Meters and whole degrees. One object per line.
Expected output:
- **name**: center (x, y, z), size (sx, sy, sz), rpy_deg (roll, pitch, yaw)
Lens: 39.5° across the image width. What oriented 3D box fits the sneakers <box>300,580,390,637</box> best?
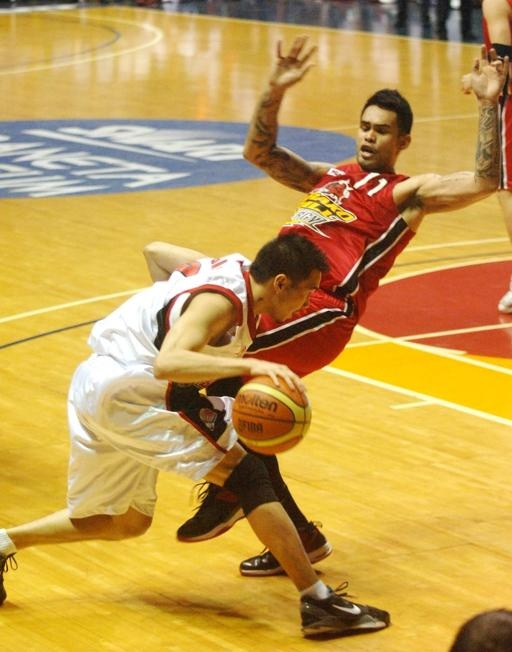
- **sneakers**: center (0.243, 0.849, 2.126), size (0.338, 0.140, 0.116), rpy_deg (5, -15, -21)
